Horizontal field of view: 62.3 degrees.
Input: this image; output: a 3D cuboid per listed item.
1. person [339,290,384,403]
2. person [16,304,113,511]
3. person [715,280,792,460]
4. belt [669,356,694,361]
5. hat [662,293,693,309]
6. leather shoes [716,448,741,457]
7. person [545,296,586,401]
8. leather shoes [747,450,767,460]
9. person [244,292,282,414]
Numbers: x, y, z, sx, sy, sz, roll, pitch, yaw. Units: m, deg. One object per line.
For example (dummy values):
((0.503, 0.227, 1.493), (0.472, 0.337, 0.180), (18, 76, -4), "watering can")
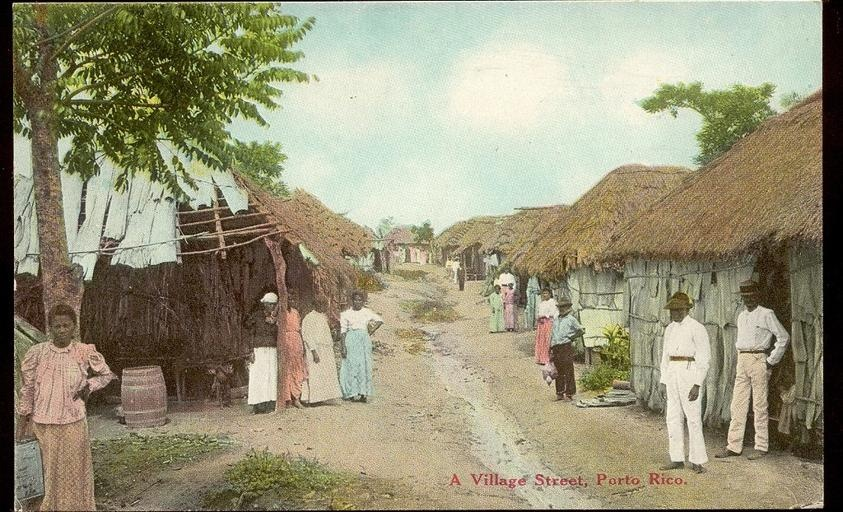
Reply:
((-1.024, 1.519, 11.852), (0.723, 1.862, 0.330), (-2, -8, -7), "person")
((-5.141, 2.196, 9.997), (1.057, 2.940, 0.847), (1, -9, -29), "person")
((5.166, 1.744, 10.851), (1.075, 2.739, 0.369), (-8, -9, 28), "person")
((4.007, 1.557, 10.690), (0.333, 0.075, 0.037), (-6, -8, 20), "belt")
((4.075, 0.707, 11.035), (0.326, 0.155, 0.410), (0, -1, 17), "hat")
((4.781, 3.099, 10.912), (0.392, 0.144, 0.138), (2, -2, 8), "leather shoes")
((2.546, 1.636, 12.304), (0.655, 1.740, 0.336), (-2, -8, -7), "person")
((5.203, 3.069, 10.814), (0.318, 0.119, 0.126), (-2, -1, -5), "leather shoes")
((-2.626, 1.609, 11.698), (0.542, 1.968, 0.431), (-2, -8, -10), "person")
